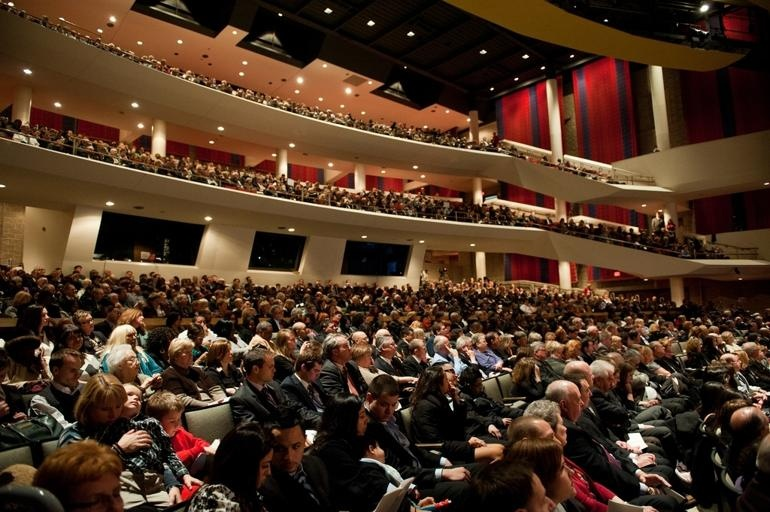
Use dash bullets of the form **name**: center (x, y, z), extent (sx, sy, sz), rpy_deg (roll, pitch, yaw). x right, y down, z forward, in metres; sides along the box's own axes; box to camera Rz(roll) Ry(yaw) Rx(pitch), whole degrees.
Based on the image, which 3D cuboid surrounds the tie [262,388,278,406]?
- **tie**: center (-1.406, 1.709, 6.194), extent (0.125, 0.210, 0.051), rpy_deg (-12, -22, -46)

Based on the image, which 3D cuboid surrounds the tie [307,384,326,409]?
- **tie**: center (-0.871, 1.841, 6.564), extent (0.086, 0.319, 0.256), rpy_deg (-30, -27, 35)
